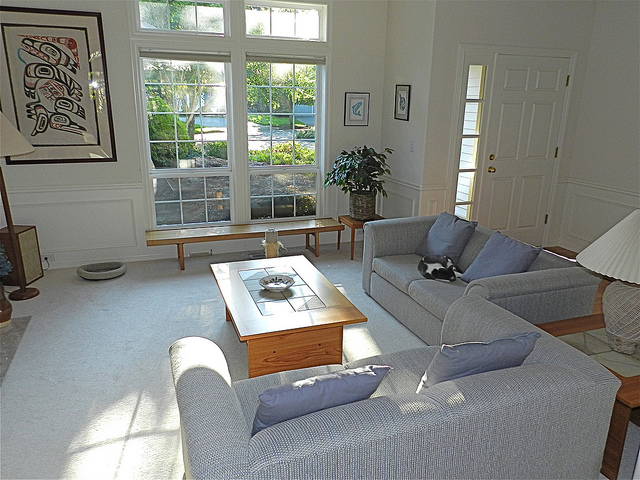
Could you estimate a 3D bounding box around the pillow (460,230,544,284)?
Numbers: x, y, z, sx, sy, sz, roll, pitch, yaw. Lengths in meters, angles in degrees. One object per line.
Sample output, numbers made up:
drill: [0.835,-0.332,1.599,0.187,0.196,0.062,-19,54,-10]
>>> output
pillow: [1.475,0.166,3.796,0.164,0.572,0.618,30,-3,15]

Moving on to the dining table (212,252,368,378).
dining table: [-0.210,0.310,3.115,0.777,0.407,1.244,-6,19,-18]

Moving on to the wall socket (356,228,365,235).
wall socket: [0.588,-0.126,6.106,0.119,0.114,0.063,-1,-5,-2]

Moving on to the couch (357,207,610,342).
couch: [1.257,0.385,3.901,1.009,0.970,2.009,-3,15,-17]

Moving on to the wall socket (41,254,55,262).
wall socket: [-3.124,0.205,4.849,0.150,0.072,0.092,3,-10,-16]

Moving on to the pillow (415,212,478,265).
pillow: [1.215,-0.028,3.982,0.160,0.486,0.525,29,0,-32]

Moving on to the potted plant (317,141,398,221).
potted plant: [0.507,-0.775,5.557,0.939,0.996,0.840,4,19,15]

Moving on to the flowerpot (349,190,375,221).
flowerpot: [0.535,-0.447,5.344,0.372,0.343,0.358,-3,13,-17]

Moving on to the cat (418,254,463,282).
cat: [1.060,0.248,3.738,0.245,0.102,0.281,-1,19,-9]
